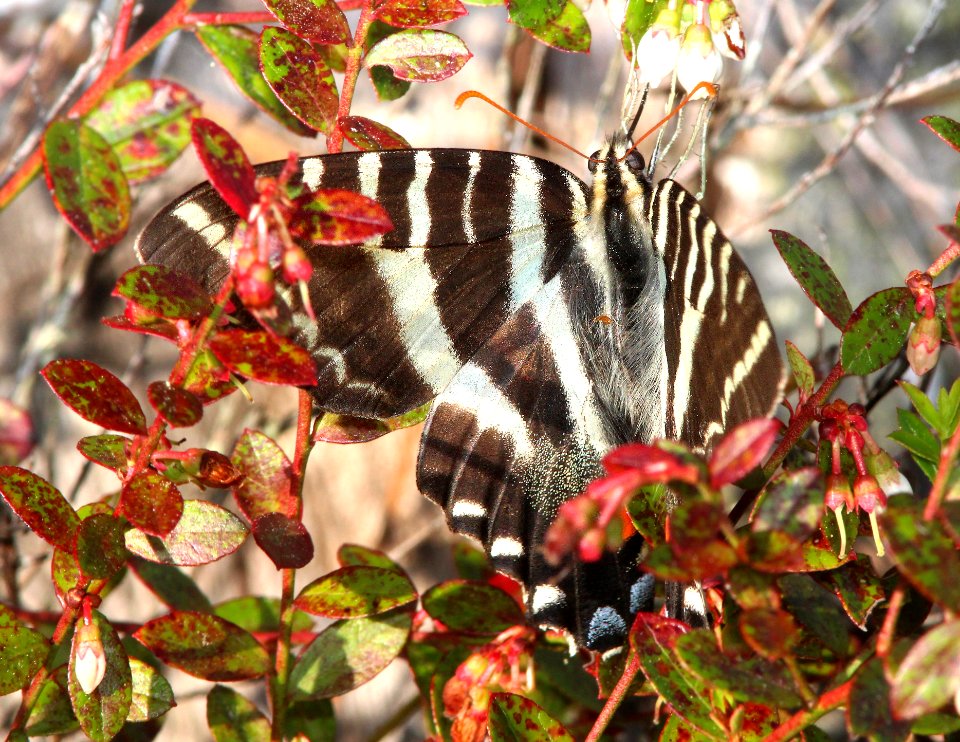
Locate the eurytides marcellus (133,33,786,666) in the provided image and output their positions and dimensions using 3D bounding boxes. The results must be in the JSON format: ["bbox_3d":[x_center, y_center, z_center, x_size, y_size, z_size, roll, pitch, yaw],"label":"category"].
[{"bbox_3d":[0.075,-0.085,2.144,0.977,0.386,0.875,27,105,0],"label":"eurytides marcellus"}]
